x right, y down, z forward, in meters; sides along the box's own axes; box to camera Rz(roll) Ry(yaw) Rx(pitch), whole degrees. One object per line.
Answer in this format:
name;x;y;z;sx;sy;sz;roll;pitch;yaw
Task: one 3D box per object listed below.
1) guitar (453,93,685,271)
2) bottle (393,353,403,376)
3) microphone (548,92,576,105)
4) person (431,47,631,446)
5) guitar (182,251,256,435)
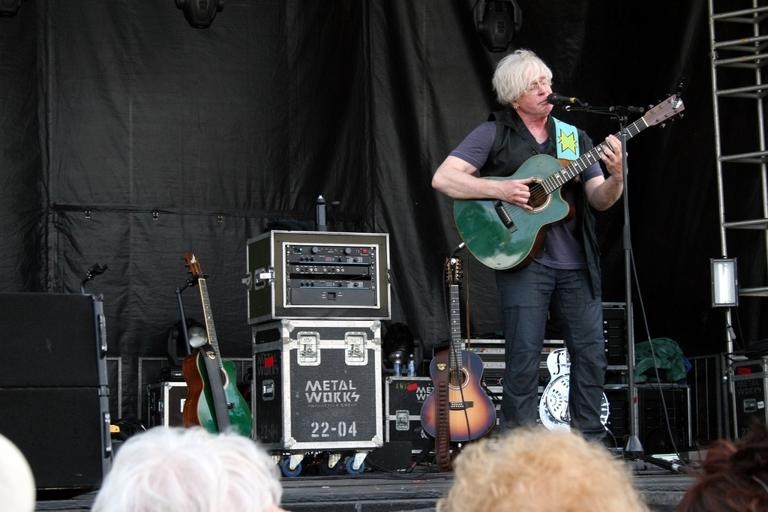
guitar;0.996;-0.342;6.907;1.756;0.716;0.260;-33;-11;10
bottle;0.112;0.824;8.544;0.076;0.178;0.174;-3;-6;0
microphone;1.105;-0.962;6.903;0.071;0.071;0.215;17;10;42
person;0.932;-0.106;6.846;1.086;2.435;0.428;-3;-6;3
guitar;-1.185;0.607;7.921;0.504;1.377;1.455;-2;-6;-10
